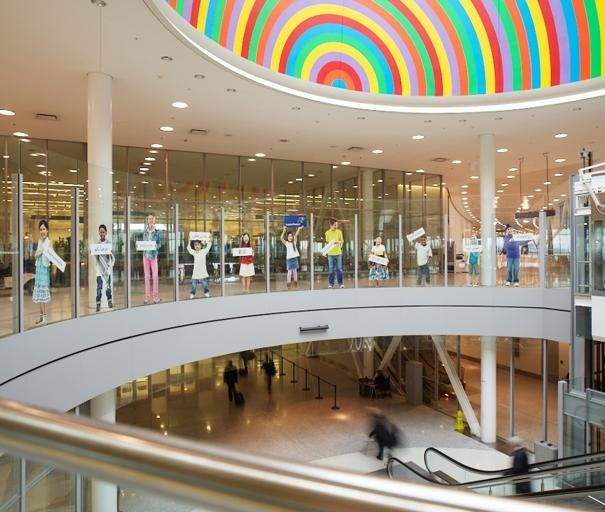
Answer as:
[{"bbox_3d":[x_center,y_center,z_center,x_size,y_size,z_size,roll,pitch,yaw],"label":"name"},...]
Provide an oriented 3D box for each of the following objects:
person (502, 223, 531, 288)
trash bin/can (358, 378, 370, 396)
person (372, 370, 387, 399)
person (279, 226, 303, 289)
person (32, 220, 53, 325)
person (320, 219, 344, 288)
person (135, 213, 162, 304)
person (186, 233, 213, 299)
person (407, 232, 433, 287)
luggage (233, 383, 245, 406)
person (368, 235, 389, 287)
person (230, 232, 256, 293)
[{"bbox_3d":[6.279,-0.023,14.965,0.704,1.842,0.680,0,2,21],"label":"person"},{"bbox_3d":[2.831,5.978,23.187,0.490,0.480,0.943,1,-4,2],"label":"trash bin/can"},{"bbox_3d":[3.647,5.859,23.337,0.840,1.344,0.755,0,0,-6],"label":"person"},{"bbox_3d":[-0.312,0.025,13.006,0.309,1.568,0.717,1,3,37],"label":"person"},{"bbox_3d":[-3.523,0.220,6.873,0.143,1.417,0.430,-1,2,-5],"label":"person"},{"bbox_3d":[0.898,-0.058,13.843,0.387,1.907,0.782,1,3,43],"label":"person"},{"bbox_3d":[-2.898,0.060,9.661,0.279,1.731,0.832,0,2,10],"label":"person"},{"bbox_3d":[-2.213,0.233,10.900,0.389,1.374,0.913,0,3,26],"label":"person"},{"bbox_3d":[3.484,0.048,14.922,0.392,1.698,0.965,1,3,43],"label":"person"},{"bbox_3d":[-2.735,5.970,21.789,0.484,0.673,0.240,11,-48,-45],"label":"luggage"},{"bbox_3d":[2.251,0.135,14.563,0.720,1.404,0.448,-2,3,-34],"label":"person"},{"bbox_3d":[-1.361,0.157,11.978,0.261,1.460,0.829,0,3,24],"label":"person"}]
